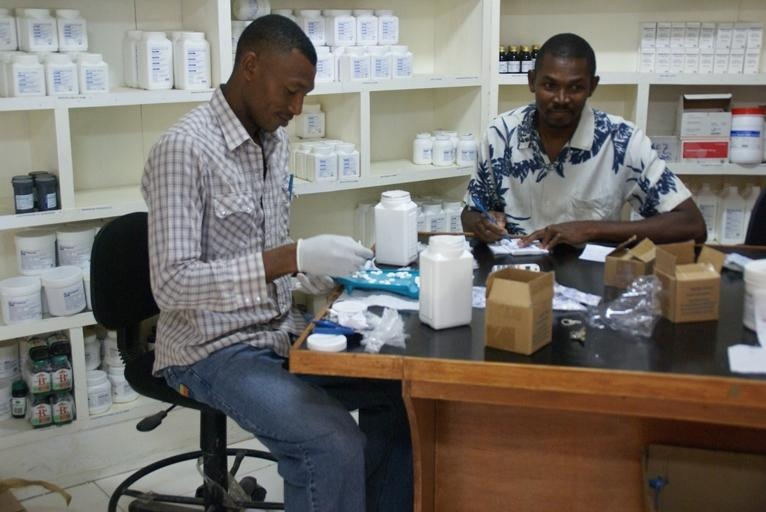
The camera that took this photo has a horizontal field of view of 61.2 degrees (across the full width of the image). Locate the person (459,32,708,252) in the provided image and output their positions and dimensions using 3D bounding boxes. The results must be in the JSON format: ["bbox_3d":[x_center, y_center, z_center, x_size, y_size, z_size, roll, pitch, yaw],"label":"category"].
[{"bbox_3d":[0.846,-0.507,2.800,1.018,0.906,0.665,-1,10,6],"label":"person"}]

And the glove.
[{"bbox_3d":[-0.179,0.010,2.242,0.280,0.170,0.279,-10,-25,-6],"label":"glove"}]
